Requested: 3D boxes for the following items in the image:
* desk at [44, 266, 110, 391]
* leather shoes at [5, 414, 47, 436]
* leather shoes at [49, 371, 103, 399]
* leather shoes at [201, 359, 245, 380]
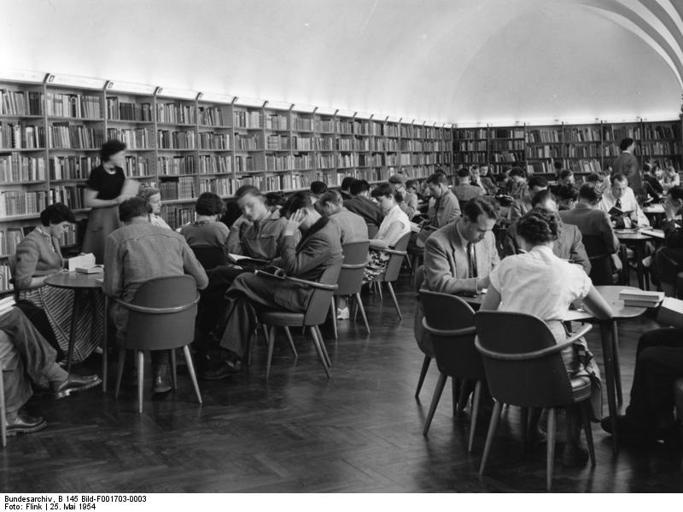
[{"bbox_3d":[-2.160,0.593,4.335,0.421,0.906,0.980,-5,9,-29],"label":"desk"},{"bbox_3d":[-2.105,1.123,3.497,0.186,0.083,0.104,-4,8,-22],"label":"leather shoes"},{"bbox_3d":[-2.077,1.007,4.144,0.108,0.129,0.311,12,19,41],"label":"leather shoes"},{"bbox_3d":[-1.006,0.965,4.507,0.366,0.151,0.144,1,-2,-29],"label":"leather shoes"}]
